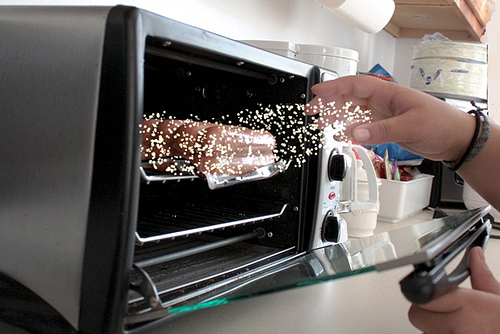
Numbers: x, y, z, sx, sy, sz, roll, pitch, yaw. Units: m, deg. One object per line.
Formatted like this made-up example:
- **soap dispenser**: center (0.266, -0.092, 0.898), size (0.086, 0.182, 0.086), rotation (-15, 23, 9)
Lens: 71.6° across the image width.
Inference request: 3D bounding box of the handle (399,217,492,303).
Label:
- **handle**: center (0.257, 0.124, 0.453), size (0.041, 0.086, 0.089), rotation (10, 9, 43)

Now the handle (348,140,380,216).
- **handle**: center (0.419, 0.049, 1.327), size (0.123, 0.287, 0.473), rotation (-10, -3, 19)

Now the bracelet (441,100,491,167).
- **bracelet**: center (0.485, -0.064, 0.792), size (0.133, 0.036, 0.108), rotation (-44, 33, -3)

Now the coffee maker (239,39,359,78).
- **coffee maker**: center (0.218, -0.422, 1.306), size (0.311, 0.113, 0.232), rotation (15, 16, 12)
